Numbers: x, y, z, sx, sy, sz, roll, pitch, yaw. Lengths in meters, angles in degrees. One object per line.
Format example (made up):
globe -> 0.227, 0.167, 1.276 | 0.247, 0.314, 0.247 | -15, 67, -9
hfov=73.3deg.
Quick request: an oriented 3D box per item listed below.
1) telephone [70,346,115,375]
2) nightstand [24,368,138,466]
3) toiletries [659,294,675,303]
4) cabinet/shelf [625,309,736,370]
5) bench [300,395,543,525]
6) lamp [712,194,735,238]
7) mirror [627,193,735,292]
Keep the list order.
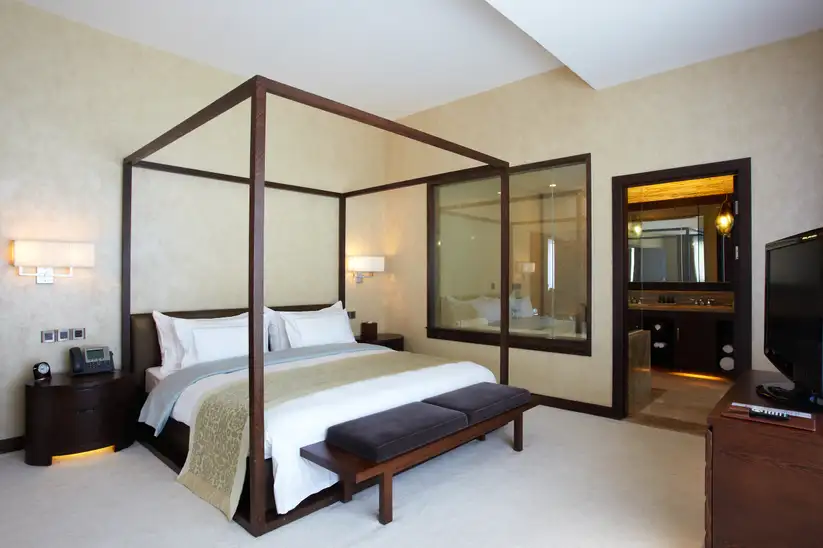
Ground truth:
telephone -> -3.331, 0.907, 5.817 | 0.266, 0.376, 0.494 | -14, -14, 41
nightstand -> -3.334, 1.354, 5.766 | 1.333, 1.018, 0.749 | 2, -5, -44
toiletries -> 4.197, 0.426, 9.070 | 0.176, 0.169, 0.133 | -3, -7, 41
cabinet/shelf -> 4.375, 1.041, 8.685 | 1.277, 0.988, 0.328 | 7, 15, 30
bench -> 0.237, 1.623, 5.230 | 2.515, 0.598, 0.624 | -10, 16, -39
lamp -> 4.903, -0.845, 8.629 | 0.230, 0.544, 0.598 | 6, 14, 25
mirror -> 4.277, -0.446, 8.597 | 1.605, 1.563, 0.186 | -5, -10, 36
